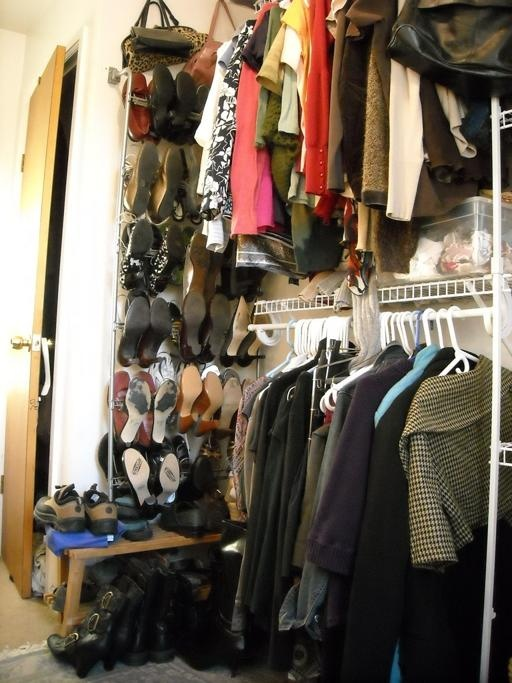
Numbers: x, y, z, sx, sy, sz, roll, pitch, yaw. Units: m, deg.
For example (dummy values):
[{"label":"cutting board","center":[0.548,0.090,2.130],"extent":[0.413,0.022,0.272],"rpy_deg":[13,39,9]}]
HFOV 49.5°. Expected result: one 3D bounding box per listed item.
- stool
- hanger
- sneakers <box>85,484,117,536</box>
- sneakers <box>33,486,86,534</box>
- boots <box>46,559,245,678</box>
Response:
[{"label":"stool","center":[-0.443,0.799,1.903],"extent":[0.594,0.338,0.353],"rpy_deg":[0,2,-32]},{"label":"hanger","center":[0.354,-0.032,1.560],"extent":[0.413,0.224,1.004],"rpy_deg":[1,-2,-23]},{"label":"sneakers","center":[-0.540,0.574,1.898],"extent":[0.067,0.104,0.208],"rpy_deg":[0,6,-24]},{"label":"sneakers","center":[-0.678,0.565,1.903],"extent":[0.091,0.149,0.247],"rpy_deg":[2,-3,-45]},{"label":"boots","center":[-0.320,0.809,1.789],"extent":[0.333,0.250,0.482],"rpy_deg":[2,-3,31]}]
